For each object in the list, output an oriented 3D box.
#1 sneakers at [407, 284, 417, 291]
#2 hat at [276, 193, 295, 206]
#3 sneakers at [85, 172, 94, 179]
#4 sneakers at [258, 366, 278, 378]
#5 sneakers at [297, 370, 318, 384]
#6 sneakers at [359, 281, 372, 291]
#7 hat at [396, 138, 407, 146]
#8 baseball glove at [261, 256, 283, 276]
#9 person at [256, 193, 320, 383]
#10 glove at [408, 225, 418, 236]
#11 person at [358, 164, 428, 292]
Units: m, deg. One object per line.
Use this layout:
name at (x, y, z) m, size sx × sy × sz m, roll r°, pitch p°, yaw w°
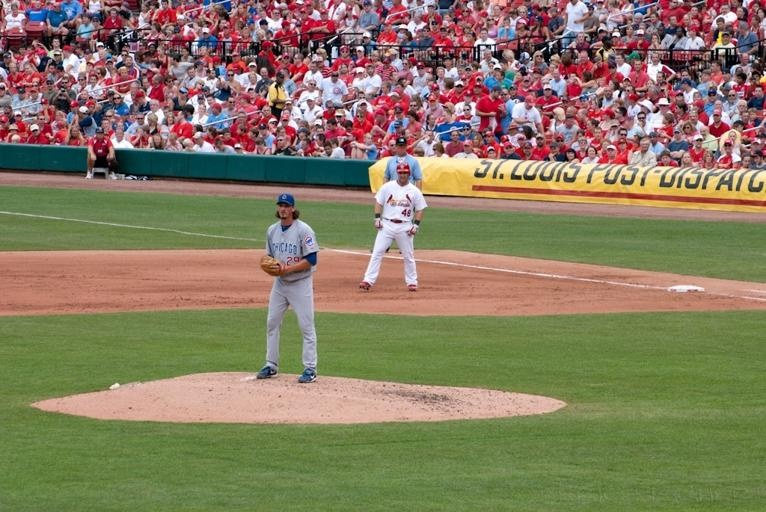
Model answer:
sneakers at (0.561, 0.643, 31.789) m, size 0.139 × 0.112 × 0.283 m, roll 0°, pitch 7°, yaw -1°
hat at (-1.620, -0.924, 26.881) m, size 0.248 × 0.130 × 0.303 m, roll 4°, pitch -1°, yaw 11°
sneakers at (-8.479, -2.280, 46.113) m, size 0.268 × 0.244 × 0.697 m, roll -1°, pitch 0°, yaw -6°
sneakers at (-1.981, 1.988, 27.036) m, size 0.158 × 0.144 × 0.399 m, roll 2°, pitch -3°, yaw 29°
sneakers at (-1.278, 2.045, 26.905) m, size 0.165 × 0.138 × 0.358 m, roll 2°, pitch -1°, yaw 27°
sneakers at (-0.356, 0.625, 31.752) m, size 0.211 × 0.127 × 0.309 m, roll 1°, pitch -6°, yaw 2°
hat at (0.362, -2.277, 32.312) m, size 0.199 × 0.162 × 0.267 m, roll 2°, pitch 6°, yaw -4°
baseball glove at (-1.849, 0.177, 26.853) m, size 0.382 × 0.269 × 0.138 m, roll 33°, pitch 16°, yaw -5°
person at (-1.572, 0.555, 26.966) m, size 1.018 × 3.134 × 0.629 m, roll 3°, pitch 8°, yaw 1°
glove at (0.617, -0.499, 31.824) m, size 0.186 × 0.089 × 0.227 m, roll -4°, pitch 37°, yaw 39°
person at (0.209, -0.593, 32.056) m, size 1.160 × 2.542 × 1.136 m, roll 2°, pitch 7°, yaw 1°
